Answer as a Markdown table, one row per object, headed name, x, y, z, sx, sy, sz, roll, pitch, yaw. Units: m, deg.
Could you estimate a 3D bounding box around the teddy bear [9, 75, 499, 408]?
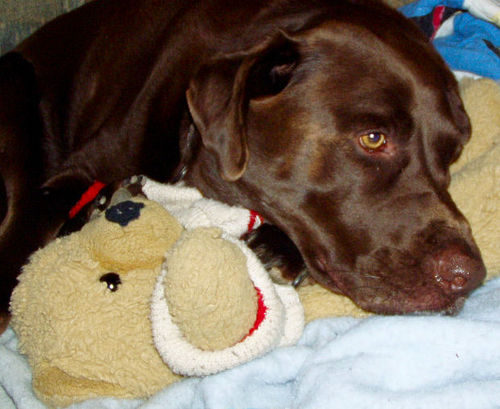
| name | x | y | z | sx | sy | sz | roll | pitch | yaw |
| --- | --- | --- | --- | --- | --- | --- | --- | --- | --- |
| teddy bear | 0.013 | 0.111 | 2.086 | 1.231 | 0.568 | 0.861 | 2 | 2 | 0 |
